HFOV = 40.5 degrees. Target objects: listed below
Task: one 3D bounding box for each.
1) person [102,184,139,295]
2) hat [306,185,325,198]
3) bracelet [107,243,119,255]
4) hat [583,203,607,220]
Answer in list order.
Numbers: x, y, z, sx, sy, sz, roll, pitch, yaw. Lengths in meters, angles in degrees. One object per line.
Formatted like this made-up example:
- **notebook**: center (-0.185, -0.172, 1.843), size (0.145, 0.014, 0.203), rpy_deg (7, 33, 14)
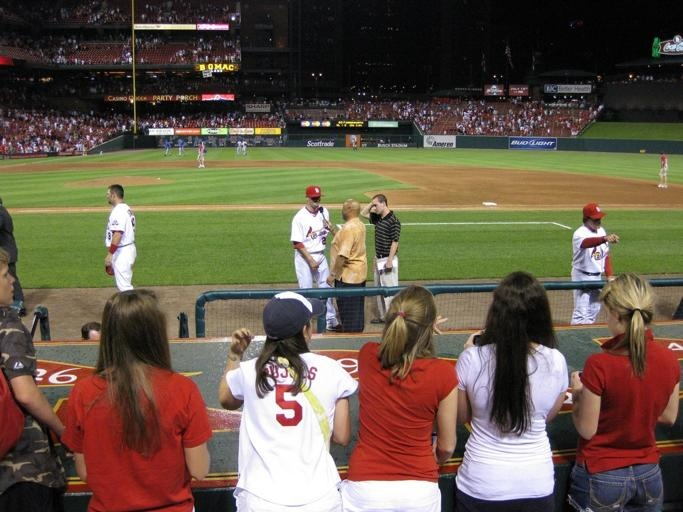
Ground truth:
- **person**: center (-3.824, -0.296, 16.154), size (0.451, 1.868, 0.825), rpy_deg (1, 7, 11)
- **hat**: center (-0.486, -1.073, 15.938), size (0.240, 0.178, 0.324), rpy_deg (-8, 28, -19)
- **bracelet**: center (-3.874, -0.115, 16.015), size (0.148, 0.155, 0.143), rpy_deg (16, -4, -20)
- **hat**: center (4.073, -0.695, 15.332), size (0.314, 0.244, 0.422), rpy_deg (-27, 26, -38)
